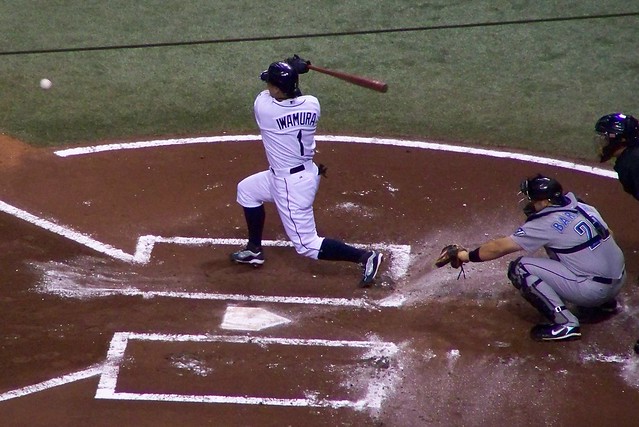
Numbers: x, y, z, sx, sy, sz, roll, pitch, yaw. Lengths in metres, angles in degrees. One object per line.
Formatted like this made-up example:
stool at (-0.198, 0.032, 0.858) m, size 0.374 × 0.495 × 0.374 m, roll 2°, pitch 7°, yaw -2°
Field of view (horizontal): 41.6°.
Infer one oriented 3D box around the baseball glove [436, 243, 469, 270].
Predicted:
baseball glove at (1.495, 0.470, 9.635) m, size 0.545 × 0.189 × 0.183 m, roll -11°, pitch 16°, yaw -42°

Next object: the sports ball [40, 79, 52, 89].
sports ball at (-4.206, -2.002, 12.882) m, size 0.159 × 0.137 × 0.224 m, roll -11°, pitch 60°, yaw -9°

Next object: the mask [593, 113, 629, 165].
mask at (3.229, -0.830, 9.545) m, size 0.323 × 0.652 × 0.502 m, roll 18°, pitch 61°, yaw 7°
